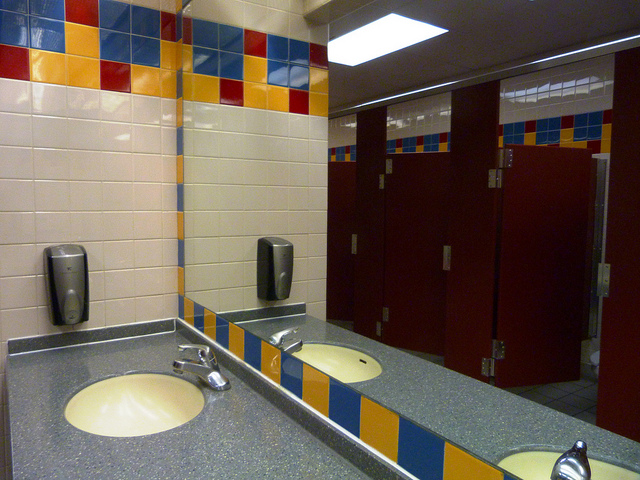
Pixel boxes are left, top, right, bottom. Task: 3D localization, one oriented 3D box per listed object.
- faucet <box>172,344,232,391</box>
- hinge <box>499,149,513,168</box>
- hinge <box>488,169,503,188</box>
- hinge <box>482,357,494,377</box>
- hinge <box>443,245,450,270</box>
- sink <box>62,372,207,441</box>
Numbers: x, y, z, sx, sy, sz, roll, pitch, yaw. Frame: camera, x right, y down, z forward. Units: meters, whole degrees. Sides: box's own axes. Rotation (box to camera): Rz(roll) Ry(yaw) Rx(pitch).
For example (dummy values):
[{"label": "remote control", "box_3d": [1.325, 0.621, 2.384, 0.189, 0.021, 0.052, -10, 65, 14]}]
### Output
[{"label": "faucet", "box_3d": [-0.374, 0.390, 1.595, 0.199, 0.129, 0.086, 9, 13, 4]}, {"label": "hinge", "box_3d": [0.340, -0.149, 0.910, 0.025, 0.033, 0.003, 9, 14, 42]}, {"label": "hinge", "box_3d": [0.328, -0.115, 0.927, 0.006, 0.033, 0.032, -6, 12, -30]}, {"label": "hinge", "box_3d": [0.320, 0.239, 0.944, 0.006, 0.036, 0.024, -8, 13, -37]}, {"label": "hinge", "box_3d": [0.256, 0.034, 1.004, 0.005, 0.048, 0.019, -9, 14, -40]}, {"label": "sink", "box_3d": [-0.563, 0.538, 1.577, 0.402, 0.163, 0.277, -3, 11, -13]}]
